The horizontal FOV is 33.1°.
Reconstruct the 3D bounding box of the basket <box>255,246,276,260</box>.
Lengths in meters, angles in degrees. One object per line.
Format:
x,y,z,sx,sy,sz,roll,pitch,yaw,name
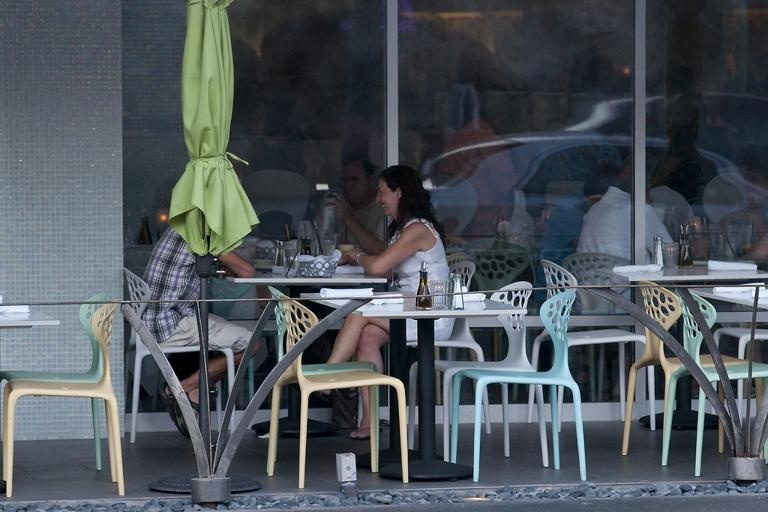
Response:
-0.918,-0.010,9.958,0.168,0.107,0.089,1,5,1,basket
